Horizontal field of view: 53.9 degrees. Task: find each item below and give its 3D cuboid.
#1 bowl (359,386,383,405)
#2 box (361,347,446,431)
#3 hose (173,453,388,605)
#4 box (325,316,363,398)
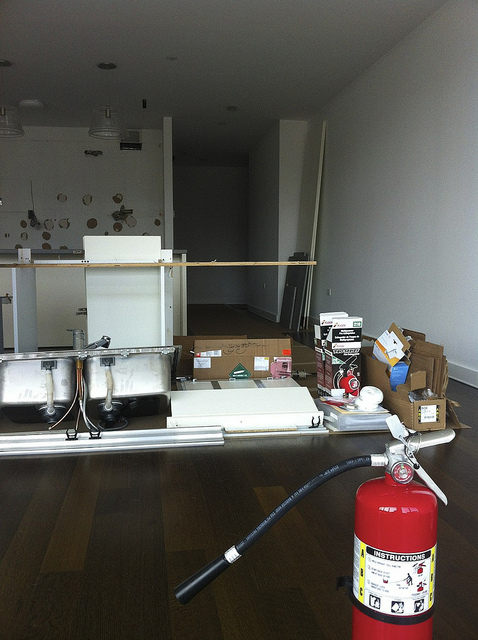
[{"bbox_3d":[0.661,0.376,2.360,0.108,0.071,0.085,1,6,2],"label":"bowl"},{"bbox_3d":[0.816,0.327,2.333,0.271,0.347,0.436,1,7,-17],"label":"box"},{"bbox_3d":[0.068,0.363,0.818,0.532,0.105,0.088,-36,21,20],"label":"hose"},{"bbox_3d":[0.550,0.198,2.486,0.190,0.431,0.101,2,6,11],"label":"box"}]
